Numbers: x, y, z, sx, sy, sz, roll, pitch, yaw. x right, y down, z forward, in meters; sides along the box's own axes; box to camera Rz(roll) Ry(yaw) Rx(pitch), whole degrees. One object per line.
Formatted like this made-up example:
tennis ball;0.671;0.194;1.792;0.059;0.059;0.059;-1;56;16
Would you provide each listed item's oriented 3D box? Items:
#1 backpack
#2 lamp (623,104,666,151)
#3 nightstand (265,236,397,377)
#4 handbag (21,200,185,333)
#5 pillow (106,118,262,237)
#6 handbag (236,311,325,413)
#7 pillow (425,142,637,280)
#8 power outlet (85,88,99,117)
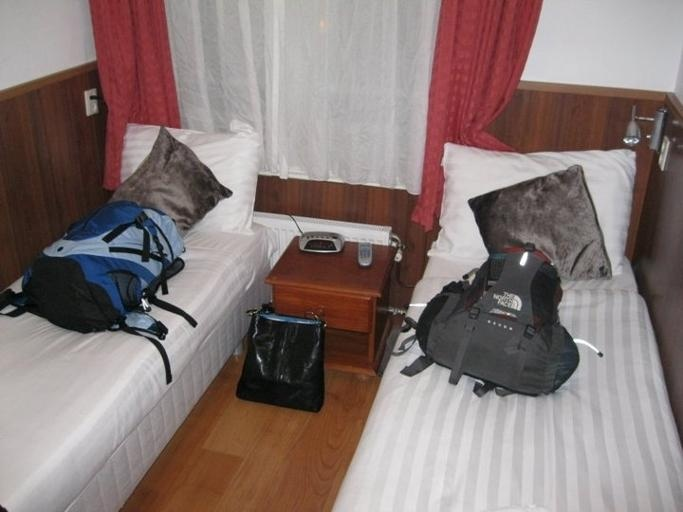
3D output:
backpack;0.587;0.226;1.759;0.506;0.195;0.540;21;73;22
lamp;1.399;-0.604;2.255;0.175;0.223;0.149;9;41;16
nightstand;0.033;0.228;2.709;0.762;0.663;0.618;6;36;12
handbag;-0.987;0.134;2.172;0.561;0.240;0.580;33;51;12
pillow;-0.785;-0.395;2.487;0.650;0.651;0.198;1;-5;-3
handbag;-0.274;0.519;2.340;0.405;0.426;0.176;7;13;9
pillow;0.880;-0.199;2.212;0.874;0.597;0.238;-3;-7;27
power outlet;-1.369;-0.850;2.685;0.063;0.132;0.126;7;23;4
